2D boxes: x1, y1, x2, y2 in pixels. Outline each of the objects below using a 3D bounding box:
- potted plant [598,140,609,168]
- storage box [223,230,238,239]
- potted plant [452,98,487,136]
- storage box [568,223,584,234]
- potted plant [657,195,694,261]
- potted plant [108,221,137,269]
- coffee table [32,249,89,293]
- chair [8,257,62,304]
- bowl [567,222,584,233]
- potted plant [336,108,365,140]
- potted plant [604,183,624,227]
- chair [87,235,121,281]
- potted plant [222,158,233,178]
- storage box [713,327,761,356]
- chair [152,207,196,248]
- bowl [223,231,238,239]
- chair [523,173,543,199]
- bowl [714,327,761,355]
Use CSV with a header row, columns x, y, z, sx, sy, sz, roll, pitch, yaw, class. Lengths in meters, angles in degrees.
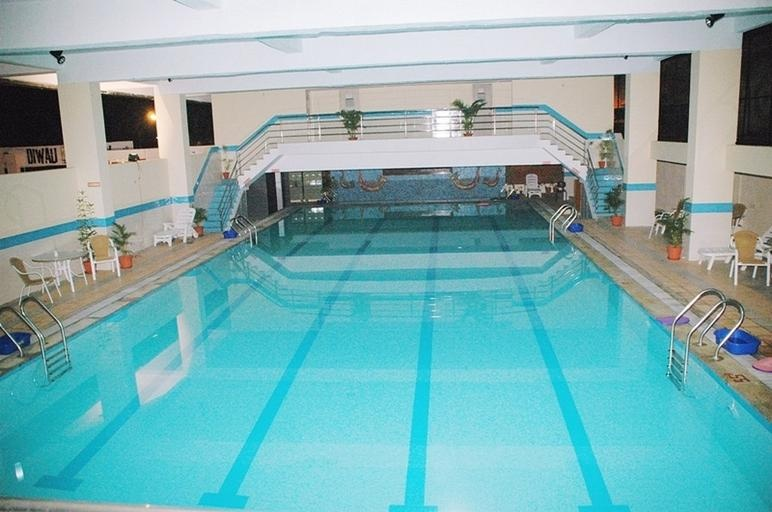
x,y,z,sx,sy,sz,roll,pitch,yaw,class
8.667,-4.036,18.022,0.399,1.030,0.704,3,14,24,potted plant
-5.476,-0.744,15.896,0.342,0.199,0.320,0,8,-3,storage box
3.108,-5.281,17.450,0.854,1.458,2.961,0,13,9,potted plant
6.447,-0.941,15.437,0.486,0.261,0.740,7,16,37,storage box
7.606,-0.775,11.968,0.696,1.550,1.602,5,15,30,potted plant
-7.264,-0.307,12.504,0.755,1.196,0.685,-3,-3,-34,potted plant
-7.755,0.344,10.865,1.158,0.747,1.139,-12,18,-42,coffee table
-7.897,0.464,10.153,0.731,0.926,0.611,3,13,-18,chair
6.454,-0.960,15.460,0.372,0.199,0.423,0,7,6,bowl
-1.309,-4.882,17.037,0.910,1.065,1.366,-3,13,-3,potted plant
7.983,-1.800,15.881,0.620,1.357,1.654,4,14,25,potted plant
-7.551,0.082,12.089,0.720,1.063,0.792,-12,-18,-26,chair
-6.675,-3.673,19.137,0.435,0.805,0.625,-4,13,-4,potted plant
5.736,1.293,7.370,0.489,0.167,0.566,-4,21,2,storage box
-7.245,-0.961,15.357,0.951,0.965,1.521,5,20,17,chair
-5.456,-0.744,15.998,0.345,0.192,0.315,0,6,0,bowl
7.513,-3.541,23.063,0.806,1.111,1.087,-1,13,6,chair
5.748,1.398,7.415,0.587,0.267,0.584,-2,12,0,bowl
